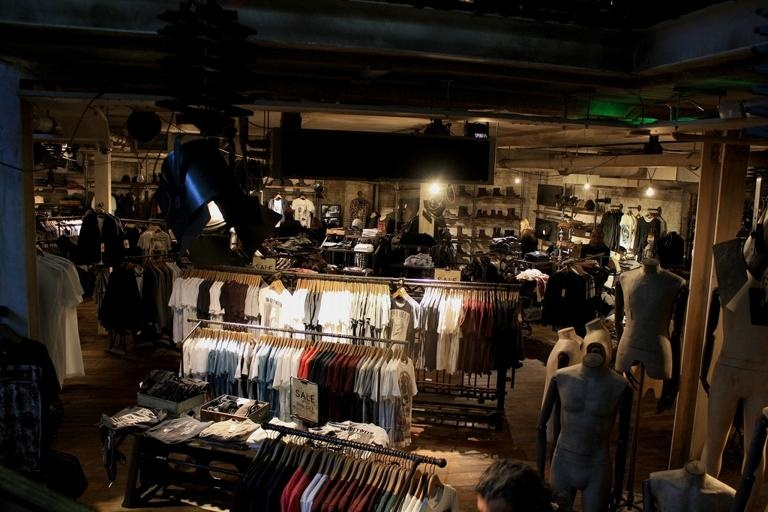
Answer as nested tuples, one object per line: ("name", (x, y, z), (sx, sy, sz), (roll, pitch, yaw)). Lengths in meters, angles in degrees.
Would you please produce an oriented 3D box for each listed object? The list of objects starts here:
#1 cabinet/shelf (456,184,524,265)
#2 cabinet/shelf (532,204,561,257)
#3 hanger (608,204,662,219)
("cabinet/shelf", (2.360, -0.662, 13.052), (1.887, 1.794, 0.989), (-1, 8, -16))
("cabinet/shelf", (4.040, -0.684, 14.377), (0.401, 1.064, 1.485), (4, 1, 4))
("hanger", (5.084, -0.879, 11.730), (0.269, 0.283, 1.428), (4, 1, -18))
